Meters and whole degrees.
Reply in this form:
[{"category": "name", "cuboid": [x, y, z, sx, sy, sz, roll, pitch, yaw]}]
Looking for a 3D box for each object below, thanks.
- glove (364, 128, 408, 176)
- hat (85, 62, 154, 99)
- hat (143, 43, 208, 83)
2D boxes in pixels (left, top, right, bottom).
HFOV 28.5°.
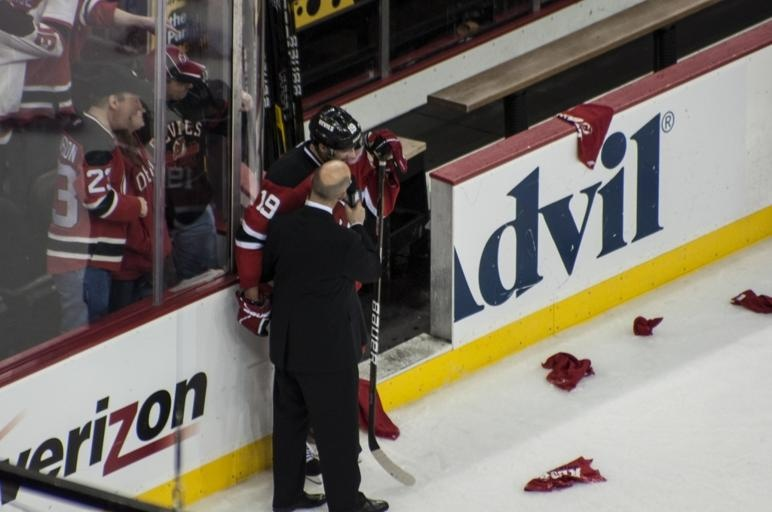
[{"category": "glove", "cuboid": [-0.028, -0.612, 9.018, 0.243, 0.245, 0.110, -36, 16, -25]}, {"category": "hat", "cuboid": [-1.458, -0.952, 8.315, 0.348, 0.177, 0.108, 0, -19, -5]}, {"category": "hat", "cuboid": [-1.193, -1.080, 8.453, 0.386, 0.229, 0.201, 5, -62, -4]}]
